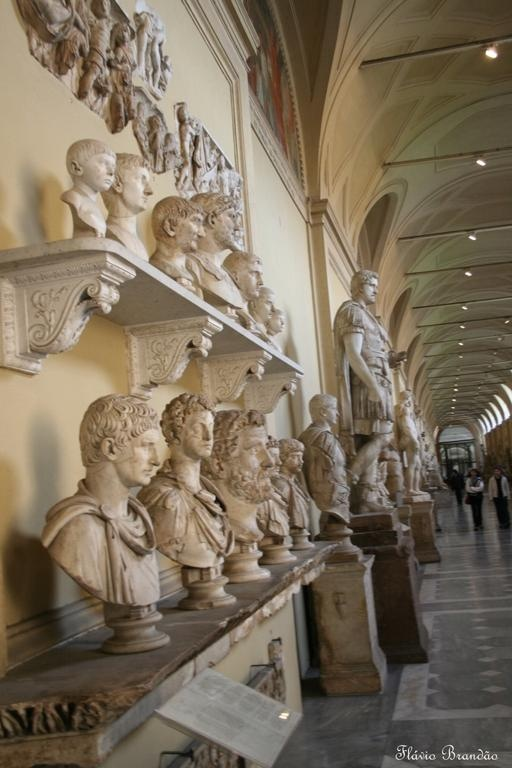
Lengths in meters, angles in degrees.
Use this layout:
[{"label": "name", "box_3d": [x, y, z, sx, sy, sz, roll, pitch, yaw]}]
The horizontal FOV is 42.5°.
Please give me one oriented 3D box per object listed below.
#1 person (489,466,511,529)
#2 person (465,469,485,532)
[{"label": "person", "box_3d": [6.239, 2.851, 16.837, 0.470, 1.448, 2.076, -7, -7, 18]}, {"label": "person", "box_3d": [5.594, 2.916, 16.845, 0.435, 1.469, 1.461, -7, -7, 16]}]
